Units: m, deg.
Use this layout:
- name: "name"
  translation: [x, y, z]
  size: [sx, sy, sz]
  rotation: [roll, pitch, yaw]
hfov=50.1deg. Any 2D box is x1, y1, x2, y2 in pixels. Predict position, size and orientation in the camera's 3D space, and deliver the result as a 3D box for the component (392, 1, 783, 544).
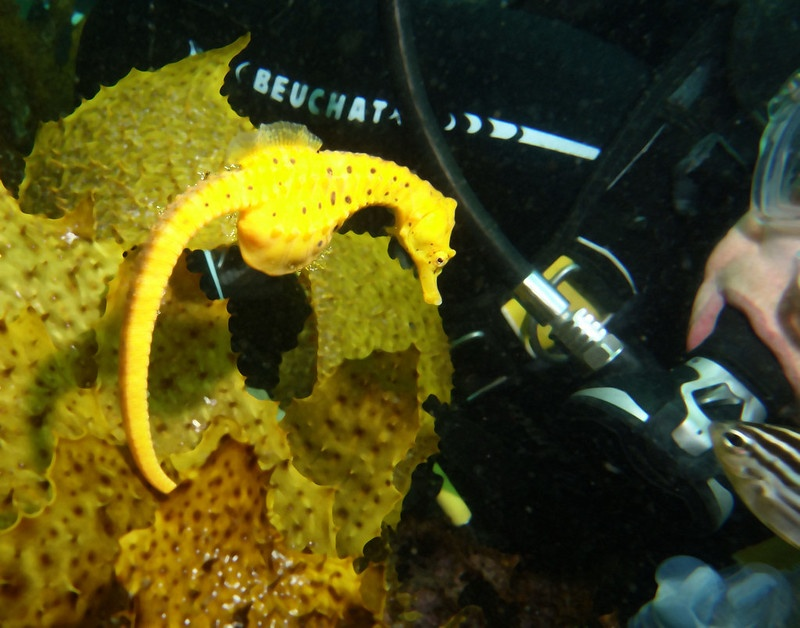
- name: "component"
  translation: [0.401, 0.012, 2.129]
  size: [0.716, 0.441, 1.236]
  rotation: [-36, 86, -34]
